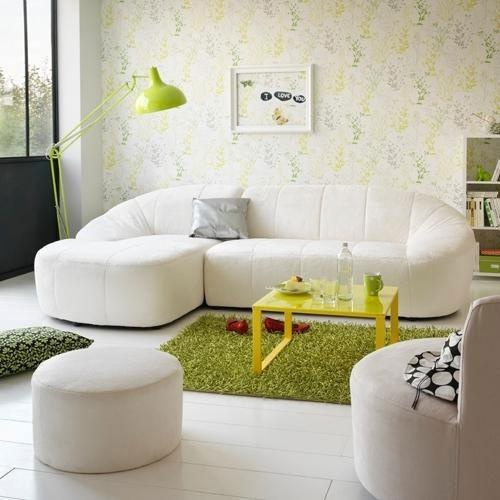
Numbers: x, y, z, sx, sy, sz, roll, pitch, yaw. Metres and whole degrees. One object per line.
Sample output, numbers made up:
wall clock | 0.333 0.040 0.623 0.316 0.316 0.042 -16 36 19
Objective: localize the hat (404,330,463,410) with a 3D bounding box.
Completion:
hat | 0.477 0.325 1.215 0.186 0.088 0.179 -5 16 -24

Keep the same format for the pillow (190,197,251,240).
pillow | -0.284 -0.271 4.100 0.384 0.447 0.131 3 -32 -1

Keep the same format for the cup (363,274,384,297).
cup | 0.677 0.197 2.522 0.076 0.142 0.126 -2 8 -21

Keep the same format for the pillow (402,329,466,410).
pillow | 0.480 0.328 1.220 0.187 0.089 0.178 -4 16 -22

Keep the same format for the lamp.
lamp | -1.502 -0.763 5.062 1.528 2.457 0.590 -8 -22 -12

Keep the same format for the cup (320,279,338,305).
cup | 0.413 0.223 2.398 0.090 0.126 0.103 0 -3 2

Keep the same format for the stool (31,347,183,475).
stool | -0.509 0.570 1.640 0.521 0.319 0.384 -2 7 -10

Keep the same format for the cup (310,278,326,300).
cup | 0.358 0.203 2.474 0.077 0.104 0.091 0 -4 -1
